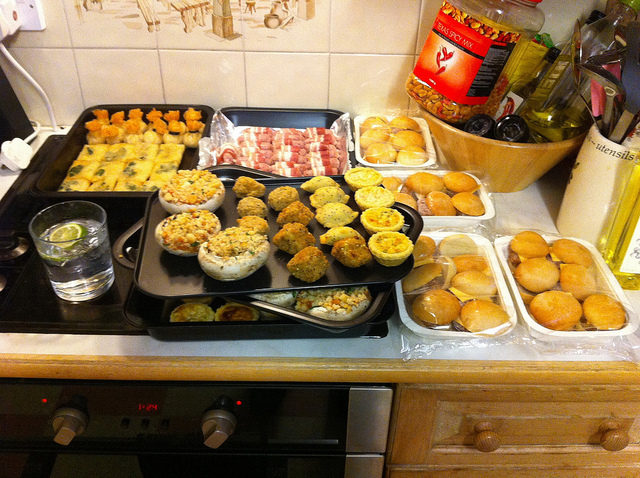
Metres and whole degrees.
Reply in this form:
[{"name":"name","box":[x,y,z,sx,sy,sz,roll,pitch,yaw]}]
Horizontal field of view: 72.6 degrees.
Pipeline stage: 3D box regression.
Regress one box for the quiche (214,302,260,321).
[{"name":"quiche","box":[-0.165,0.148,0.875,0.056,0.011,0.049,4,25,2]}]

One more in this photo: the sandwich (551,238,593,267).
[{"name":"sandwich","box":[0.556,0.030,0.965,0.075,0.024,0.065,7,39,-2]}]

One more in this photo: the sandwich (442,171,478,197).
[{"name":"sandwich","box":[0.349,-0.141,1.092,0.077,0.036,0.058,-21,40,-28]}]

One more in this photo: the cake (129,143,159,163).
[{"name":"cake","box":[-0.519,-0.258,1.287,0.075,0.017,0.061,5,50,2]}]

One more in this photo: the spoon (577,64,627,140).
[{"name":"spoon","box":[0.623,-0.308,0.961,0.069,0.171,0.110,-34,44,3]}]

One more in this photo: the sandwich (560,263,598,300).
[{"name":"sandwich","box":[0.547,0.089,0.957,0.091,0.036,0.073,-2,49,-5]}]

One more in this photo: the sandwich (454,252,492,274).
[{"name":"sandwich","box":[0.331,0.052,0.955,0.071,0.032,0.045,2,26,1]}]

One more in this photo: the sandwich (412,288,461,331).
[{"name":"sandwich","box":[0.225,0.137,0.869,0.090,0.042,0.075,4,59,5]}]

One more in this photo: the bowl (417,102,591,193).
[{"name":"bowl","box":[0.457,-0.209,1.053,0.309,0.101,0.270,-2,31,-5]}]

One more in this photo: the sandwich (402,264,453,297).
[{"name":"sandwich","box":[0.224,0.081,0.911,0.082,0.017,0.077,-21,10,-22]}]

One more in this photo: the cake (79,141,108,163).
[{"name":"cake","box":[-0.655,-0.253,1.280,0.087,0.023,0.075,5,53,-7]}]

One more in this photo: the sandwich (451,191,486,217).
[{"name":"sandwich","box":[0.355,-0.085,1.059,0.071,0.032,0.065,-9,36,-20]}]

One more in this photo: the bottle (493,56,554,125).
[{"name":"bottle","box":[0.535,-0.412,1.215,0.124,0.189,0.124,-1,31,0]}]

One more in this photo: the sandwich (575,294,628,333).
[{"name":"sandwich","box":[0.558,0.150,0.867,0.085,0.025,0.072,4,52,10]}]

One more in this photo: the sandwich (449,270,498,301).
[{"name":"sandwich","box":[0.322,0.091,0.925,0.068,0.037,0.079,-11,22,-38]}]

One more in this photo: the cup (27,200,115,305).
[{"name":"cup","box":[-0.515,0.024,0.936,0.148,0.159,0.184,-18,46,-22]}]

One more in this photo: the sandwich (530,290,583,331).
[{"name":"sandwich","box":[0.478,0.145,0.877,0.095,0.040,0.087,11,41,10]}]

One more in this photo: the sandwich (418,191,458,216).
[{"name":"sandwich","box":[0.287,-0.094,1.065,0.096,0.035,0.083,4,40,1]}]

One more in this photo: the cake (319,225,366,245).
[{"name":"cake","box":[0.035,-0.007,0.882,0.066,0.019,0.043,-6,32,0]}]

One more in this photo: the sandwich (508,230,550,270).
[{"name":"sandwich","box":[0.473,0.012,0.996,0.091,0.044,0.090,19,47,25]}]

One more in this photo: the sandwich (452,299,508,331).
[{"name":"sandwich","box":[0.312,0.149,0.868,0.076,0.019,0.071,-20,33,-18]}]
